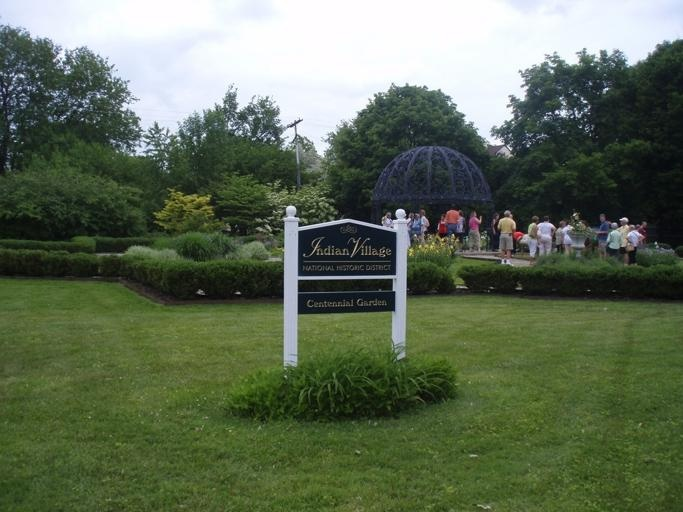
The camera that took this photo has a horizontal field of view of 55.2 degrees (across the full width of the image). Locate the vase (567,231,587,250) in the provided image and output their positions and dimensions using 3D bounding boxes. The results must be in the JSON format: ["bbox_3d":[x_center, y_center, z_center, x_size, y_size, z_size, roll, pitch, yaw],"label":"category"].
[{"bbox_3d":[8.455,-0.562,23.400,0.587,0.485,0.596,2,-2,-24],"label":"vase"}]

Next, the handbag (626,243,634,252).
[{"bbox_3d":[9.001,-0.277,20.431,0.175,0.266,0.109,2,-13,1],"label":"handbag"}]
